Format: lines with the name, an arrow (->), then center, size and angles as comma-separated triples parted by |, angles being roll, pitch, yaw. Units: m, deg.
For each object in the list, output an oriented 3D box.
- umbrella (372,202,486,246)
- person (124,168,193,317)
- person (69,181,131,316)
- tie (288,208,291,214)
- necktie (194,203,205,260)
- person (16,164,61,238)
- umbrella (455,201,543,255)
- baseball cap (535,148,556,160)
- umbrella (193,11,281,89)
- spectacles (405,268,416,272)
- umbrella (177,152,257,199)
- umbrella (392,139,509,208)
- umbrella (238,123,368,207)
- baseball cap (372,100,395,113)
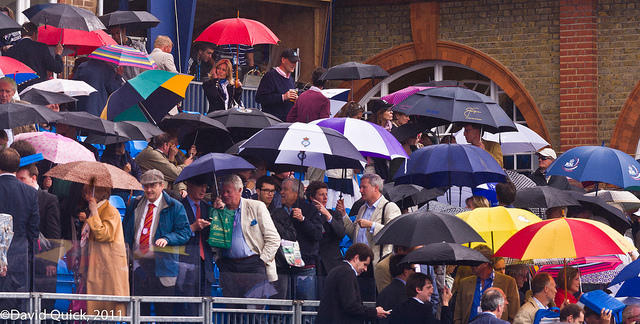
umbrella -> 2.177, 1.265, 25.512 | 2.608, 0.789, 2.385 | -2, 0, 8
person -> -3.120, 1.570, 24.271 | 1.220, 2.829, 0.790 | 5, -13, -2
person -> -4.060, 1.642, 23.967 | 1.164, 2.512, 0.816 | 7, -13, -8
tie -> -0.605, 1.000, 25.446 | 0.023, 0.090, 0.095 | -30, 18, -3
necktie -> -2.348, 1.371, 24.908 | 0.156, 1.082, 0.114 | 2, 16, 33
person -> -5.376, 0.760, 24.232 | 0.943, 1.389, 0.311 | 9, -14, -19
umbrella -> 3.683, 1.395, 25.608 | 1.311, 0.960, 1.252 | -2, -5, 25
baseball cap -> 5.368, -0.174, 29.743 | 0.386, 0.128, 0.229 | 8, -4, -11
umbrella -> -1.956, -2.713, 29.599 | 1.914, 1.425, 1.738 | -3, 13, -30
spectacles -> 1.846, 2.130, 24.753 | 0.125, 0.081, 0.295 | -2, -13, 25
umbrella -> -2.114, 0.407, 25.168 | 1.255, 0.706, 1.055 | -5, -8, -12
umbrella -> 2.802, 0.102, 26.973 | 2.100, 1.095, 2.020 | -20, 29, -40
umbrella -> -0.350, -0.040, 25.956 | 2.642, 1.512, 2.203 | 12, -2, -10
baseball cap -> 1.423, -1.225, 28.310 | 0.414, 0.163, 0.264 | -13, 8, 7
